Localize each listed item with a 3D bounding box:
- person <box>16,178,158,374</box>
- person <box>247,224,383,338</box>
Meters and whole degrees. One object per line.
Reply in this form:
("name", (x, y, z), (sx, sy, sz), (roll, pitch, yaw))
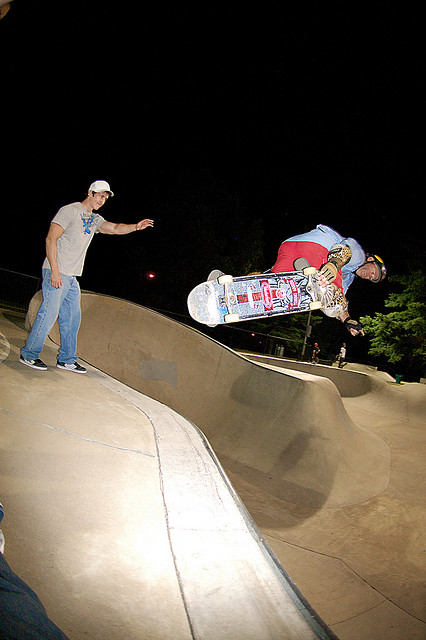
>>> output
("person", (-1.153, -0.359, 3.500), (0.571, 1.525, 0.933), (5, 5, 36))
("person", (1.242, -0.656, 5.849), (2.103, 0.903, 1.544), (7, -5, -1))
